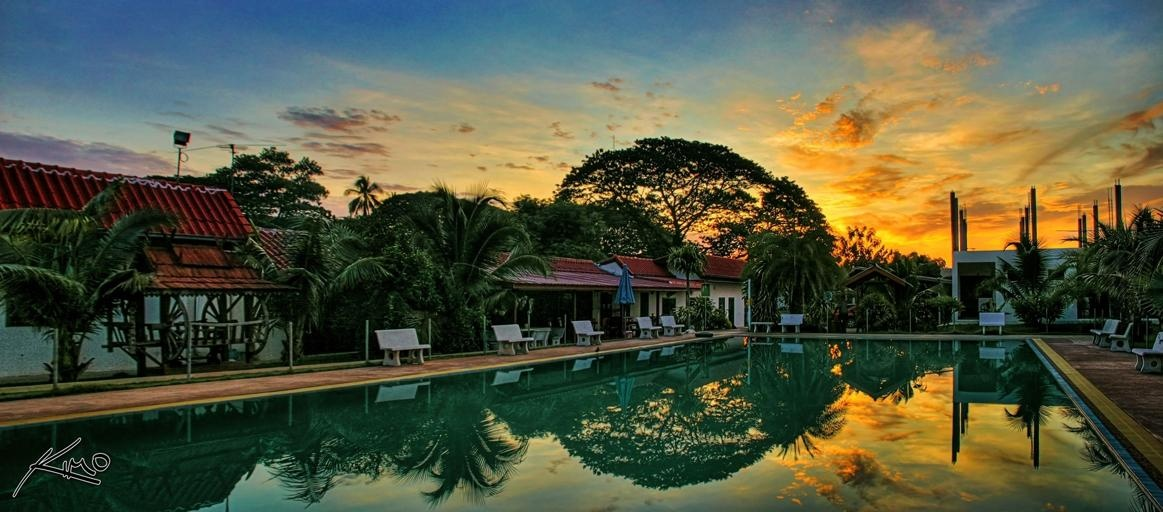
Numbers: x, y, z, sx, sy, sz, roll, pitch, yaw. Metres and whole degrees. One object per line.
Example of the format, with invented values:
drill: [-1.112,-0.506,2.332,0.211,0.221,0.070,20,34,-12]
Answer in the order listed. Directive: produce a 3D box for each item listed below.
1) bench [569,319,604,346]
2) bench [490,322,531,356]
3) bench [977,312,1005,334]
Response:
bench: [0.419,4.921,45.780,1.972,1.517,2.285,-3,-4,34]
bench: [-4.098,4.933,42.018,1.955,1.693,1.798,1,7,4]
bench: [29.469,5.217,50.293,1.916,2.046,3.207,1,-6,33]
